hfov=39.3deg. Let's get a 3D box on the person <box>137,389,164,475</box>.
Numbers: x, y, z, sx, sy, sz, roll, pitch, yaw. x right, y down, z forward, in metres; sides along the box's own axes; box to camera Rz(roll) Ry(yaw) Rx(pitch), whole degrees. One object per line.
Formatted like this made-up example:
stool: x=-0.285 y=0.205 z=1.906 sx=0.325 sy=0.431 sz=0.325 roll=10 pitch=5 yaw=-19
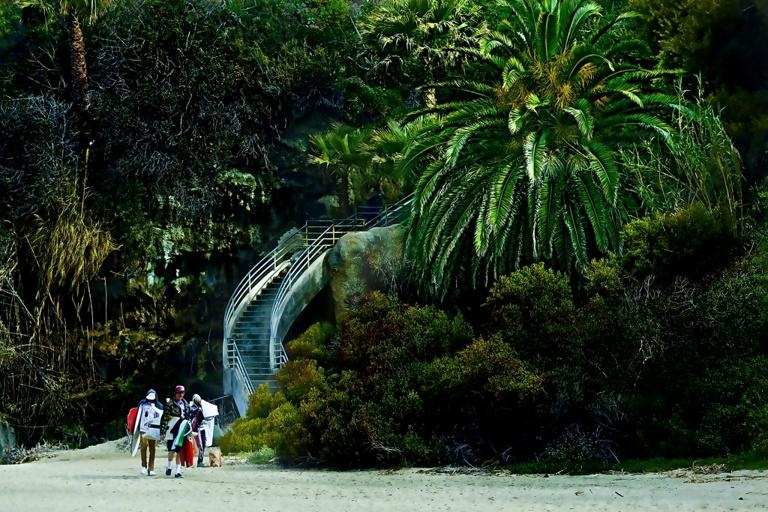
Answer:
person: x=-6.695 y=5.033 z=30.709 sx=0.613 sy=1.947 sz=0.952 roll=-1 pitch=-1 yaw=-39
